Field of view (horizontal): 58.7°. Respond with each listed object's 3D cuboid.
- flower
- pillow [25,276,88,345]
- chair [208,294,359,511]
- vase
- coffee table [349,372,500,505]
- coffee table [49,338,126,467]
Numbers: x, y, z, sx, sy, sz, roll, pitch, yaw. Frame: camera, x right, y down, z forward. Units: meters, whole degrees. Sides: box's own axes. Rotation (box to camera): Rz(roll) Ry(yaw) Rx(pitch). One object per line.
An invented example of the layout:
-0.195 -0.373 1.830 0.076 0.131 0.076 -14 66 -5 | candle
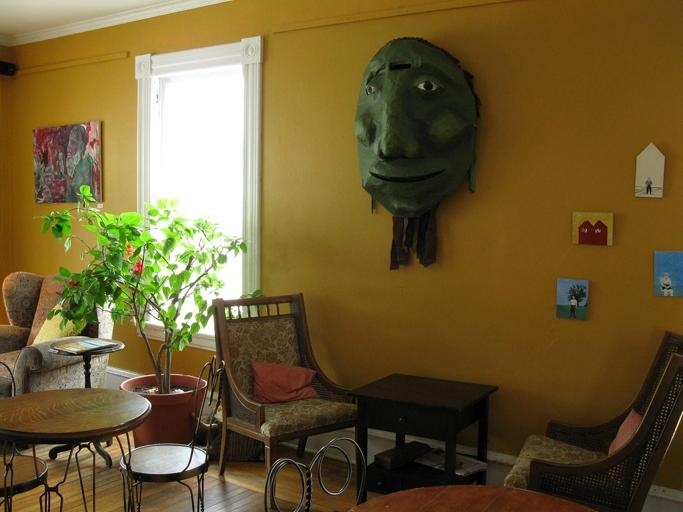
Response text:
-1.339 0.281 4.509 1.043 1.498 1.353 4 -5 22 | flower
-2.243 0.419 4.999 0.170 0.612 0.558 14 -20 -37 | pillow
-0.366 0.879 3.999 0.765 1.213 0.785 0 -4 -35 | chair
-1.322 1.157 4.462 0.573 0.483 0.552 1 3 -31 | vase
0.439 1.151 3.685 0.655 0.723 0.638 3 2 24 | coffee table
-1.787 1.008 4.228 0.504 0.766 0.542 1 -2 -6 | coffee table
